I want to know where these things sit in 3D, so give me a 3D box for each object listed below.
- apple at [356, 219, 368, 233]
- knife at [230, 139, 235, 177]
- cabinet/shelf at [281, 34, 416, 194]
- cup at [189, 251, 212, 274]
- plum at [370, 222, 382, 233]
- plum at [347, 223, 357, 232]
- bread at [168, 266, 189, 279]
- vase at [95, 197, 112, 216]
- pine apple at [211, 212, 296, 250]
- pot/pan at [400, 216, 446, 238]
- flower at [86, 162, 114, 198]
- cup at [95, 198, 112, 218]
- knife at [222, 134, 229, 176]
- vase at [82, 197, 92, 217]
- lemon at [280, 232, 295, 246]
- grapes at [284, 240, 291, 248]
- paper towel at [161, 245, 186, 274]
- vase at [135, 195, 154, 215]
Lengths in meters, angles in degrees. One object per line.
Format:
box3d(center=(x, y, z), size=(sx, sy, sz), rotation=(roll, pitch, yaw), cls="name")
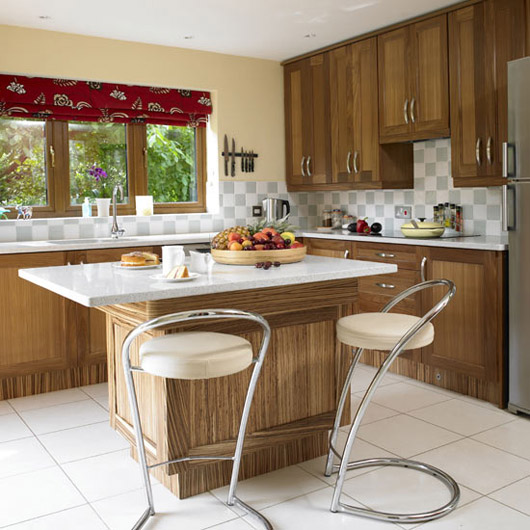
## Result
box3d(center=(0.821, -0.335, 4.167), size=(0.104, 0.124, 0.214), rotation=(-1, 2, 9), cls="apple")
box3d(center=(-0.301, -1.002, 4.535), size=(0.046, 0.284, 0.035), rotation=(3, -1, -6), cls="knife")
box3d(center=(0.725, -1.297, 4.104), size=(0.582, 1.229, 1.459), rotation=(-2, 3, -33), cls="cabinet/shelf")
box3d(center=(-0.270, -0.008, 2.022), size=(0.096, 0.082, 0.053), rotation=(9, 13, 42), cls="cup")
box3d(center=(0.898, -0.303, 4.017), size=(0.089, 0.091, 0.081), rotation=(1, -18, 6), cls="plum")
box3d(center=(0.746, -0.324, 4.223), size=(0.062, 0.087, 0.131), rotation=(-1, 2, -2), cls="plum")
box3d(center=(-0.313, 0.023, 1.753), size=(0.053, 0.018, 0.052), rotation=(8, 21, 43), cls="bread")
box3d(center=(-1.305, -0.472, 3.943), size=(0.158, 0.142, 0.155), rotation=(4, 8, 18), cls="vase")
box3d(center=(-0.070, -0.145, 2.293), size=(0.305, 0.114, 0.196), rotation=(-3, 4, 27), cls="pine apple")
box3d(center=(1.122, -0.280, 3.442), size=(0.248, 0.083, 0.190), rotation=(-1, 5, -12), cls="pot/pan")
box3d(center=(-1.384, -0.714, 4.081), size=(0.196, 0.279, 0.223), rotation=(-1, 2, -13), cls="flower")
box3d(center=(-1.304, -0.465, 3.936), size=(0.176, 0.156, 0.161), rotation=(1, 8, 0), cls="cup")
box3d(center=(-0.367, -1.020, 4.503), size=(0.031, 0.374, 0.070), rotation=(0, 2, 42), cls="knife")
box3d(center=(-1.459, -0.476, 4.000), size=(0.079, 0.175, 0.216), rotation=(-2, 2, -20), cls="vase")
box3d(center=(0.100, -0.122, 2.312), size=(0.047, 0.053, 0.046), rotation=(-33, -49, 19), cls="lemon")
box3d(center=(0.099, -0.097, 2.247), size=(0.042, 0.028, 0.074), rotation=(0, 5, 0), cls="grapes")
box3d(center=(-0.354, -0.018, 1.830), size=(0.118, 0.105, 0.073), rotation=(6, 6, 35), cls="paper towel")
box3d(center=(-1.028, -0.504, 4.163), size=(0.181, 0.221, 0.172), rotation=(0, 3, -24), cls="vase")
